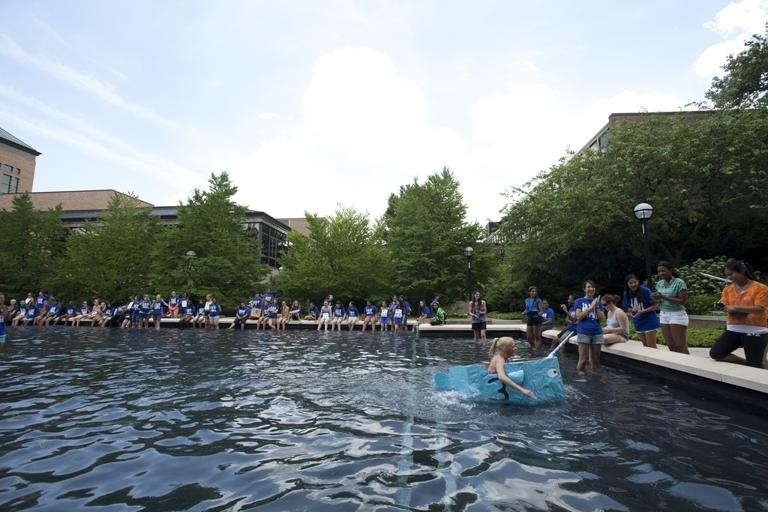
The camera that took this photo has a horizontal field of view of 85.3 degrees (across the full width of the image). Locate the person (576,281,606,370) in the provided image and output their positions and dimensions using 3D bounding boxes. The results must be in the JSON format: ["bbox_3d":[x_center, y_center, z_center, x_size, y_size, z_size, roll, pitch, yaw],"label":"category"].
[{"bbox_3d":[5.257,1.731,10.617,0.640,2.187,0.930,0,2,23],"label":"person"}]

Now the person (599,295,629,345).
[{"bbox_3d":[6.158,1.705,11.378,1.133,1.185,0.974,0,0,12],"label":"person"}]

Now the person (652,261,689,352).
[{"bbox_3d":[6.859,1.203,9.894,0.605,2.159,0.978,0,2,33],"label":"person"}]

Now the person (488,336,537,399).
[{"bbox_3d":[2.442,2.109,8.082,0.929,0.952,1.540,6,9,13],"label":"person"}]
